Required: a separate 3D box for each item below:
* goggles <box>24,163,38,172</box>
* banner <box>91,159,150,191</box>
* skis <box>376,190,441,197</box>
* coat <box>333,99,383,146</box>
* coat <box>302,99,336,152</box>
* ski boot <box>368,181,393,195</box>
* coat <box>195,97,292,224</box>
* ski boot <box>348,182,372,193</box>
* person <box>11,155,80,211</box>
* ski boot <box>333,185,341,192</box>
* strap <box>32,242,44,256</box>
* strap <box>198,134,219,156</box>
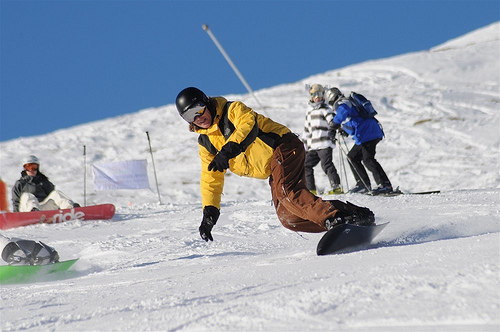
[{"bbox_3d":[-3.983,0.013,10.927,0.228,0.161,0.122,-9,7,-25],"label":"goggles"},{"bbox_3d":[-2.786,0.195,12.872,1.204,0.649,0.086,-4,19,-5],"label":"banner"},{"bbox_3d":[2.876,0.492,10.885,0.997,0.102,0.101,-4,47,21],"label":"skis"},{"bbox_3d":[1.920,-0.801,10.790,0.866,0.864,0.316,-5,7,11],"label":"coat"},{"bbox_3d":[1.321,-0.719,11.933,0.656,1.200,1.082,1,0,7],"label":"coat"},{"bbox_3d":[2.320,0.391,10.651,0.452,0.194,0.151,-8,2,9],"label":"ski boot"},{"bbox_3d":[-0.100,-0.083,7.421,1.212,1.594,0.651,-6,7,5],"label":"coat"},{"bbox_3d":[2.077,0.400,11.325,0.536,0.183,0.210,-1,9,37],"label":"ski boot"},{"bbox_3d":[-3.750,0.402,10.754,1.084,1.061,1.491,-9,11,-37],"label":"person"},{"bbox_3d":[1.696,0.425,11.703,0.157,0.116,0.084,-7,7,-3],"label":"ski boot"},{"bbox_3d":[-2.644,1.037,7.455,0.033,0.123,0.124,-20,41,58],"label":"strap"},{"bbox_3d":[-0.552,-0.280,7.623,0.107,0.276,0.206,-30,-15,-50],"label":"strap"}]
